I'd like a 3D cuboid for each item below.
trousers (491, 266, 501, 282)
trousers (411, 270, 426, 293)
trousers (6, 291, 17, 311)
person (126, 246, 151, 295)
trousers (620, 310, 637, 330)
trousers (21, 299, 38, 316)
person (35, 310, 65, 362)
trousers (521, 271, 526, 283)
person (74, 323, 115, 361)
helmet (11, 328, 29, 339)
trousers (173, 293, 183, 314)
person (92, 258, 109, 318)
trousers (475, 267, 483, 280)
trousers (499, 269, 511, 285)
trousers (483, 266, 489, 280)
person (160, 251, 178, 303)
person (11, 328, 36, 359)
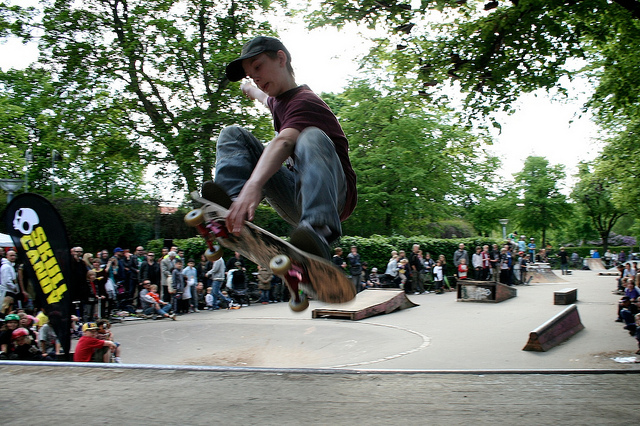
[{"bbox_3d":[8.277,2.824,27.469,0.394,0.687,0.257,0,-3,14],"label":"trousers"},{"bbox_3d":[4.368,3.043,26.195,0.558,1.007,0.214,1,-3,-9],"label":"trousers"},{"bbox_3d":[-8.535,2.392,16.121,0.261,0.505,0.581,2,-3,-24],"label":"trousers"},{"bbox_3d":[-6.144,1.938,19.673,0.776,1.542,1.317,1,-3,-18],"label":"person"},{"bbox_3d":[8.544,2.919,16.142,0.430,0.524,0.220,-11,3,-12],"label":"trousers"},{"bbox_3d":[-8.103,2.606,16.232,0.334,0.247,1.027,-35,23,-34],"label":"trousers"},{"bbox_3d":[-6.185,2.741,13.317,0.579,1.239,1.473,2,-3,-24],"label":"person"},{"bbox_3d":[10.418,3.259,30.003,0.344,0.164,0.807,-3,-23,16],"label":"trousers"},{"bbox_3d":[-5.117,2.937,13.210,0.833,0.776,0.305,1,-3,-15],"label":"person"},{"bbox_3d":[-6.829,2.722,13.299,0.203,0.205,0.302,-1,-3,34],"label":"helmet"},{"bbox_3d":[-4.918,3.105,20.116,0.216,0.710,0.422,0,-3,5],"label":"trousers"},{"bbox_3d":[-6.890,2.340,18.226,0.466,1.834,0.729,1,-3,-10],"label":"person"},{"bbox_3d":[7.235,2.720,26.650,0.332,0.590,0.608,0,-2,13],"label":"trousers"},{"bbox_3d":[8.858,3.029,28.055,0.297,0.740,1.478,-1,-2,24],"label":"trousers"},{"bbox_3d":[7.569,2.713,26.656,0.264,0.613,0.290,0,-3,9],"label":"trousers"},{"bbox_3d":[-5.139,2.140,19.633,0.487,1.681,0.498,1,-3,-8],"label":"person"},{"bbox_3d":[-6.779,2.954,13.331,0.286,0.662,0.428,-1,-3,23],"label":"person"}]
